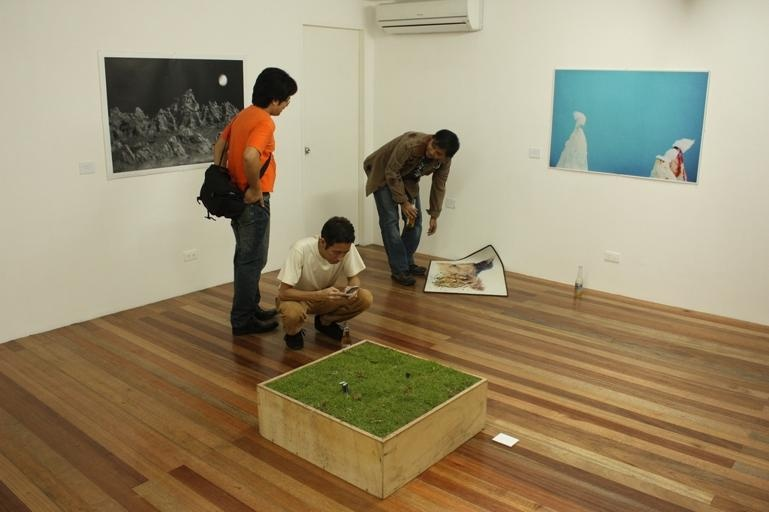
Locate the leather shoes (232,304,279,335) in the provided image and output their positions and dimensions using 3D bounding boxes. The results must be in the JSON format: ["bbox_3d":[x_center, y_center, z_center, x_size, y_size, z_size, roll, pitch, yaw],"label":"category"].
[{"bbox_3d":[-1.198,0.629,4.823,0.281,0.097,0.290,-6,23,-11],"label":"leather shoes"}]

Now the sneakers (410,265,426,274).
[{"bbox_3d":[0.435,0.170,6.211,0.171,0.073,0.097,9,20,31],"label":"sneakers"}]

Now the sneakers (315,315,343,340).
[{"bbox_3d":[-0.495,0.660,4.694,0.263,0.194,0.092,13,35,22],"label":"sneakers"}]

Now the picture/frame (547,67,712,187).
[{"bbox_3d":[2.648,-1.391,5.362,1.241,0.941,0.023,11,16,28],"label":"picture/frame"}]

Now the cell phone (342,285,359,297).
[{"bbox_3d":[-0.274,0.309,4.387,0.106,0.091,0.252,4,18,3],"label":"cell phone"}]

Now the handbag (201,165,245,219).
[{"bbox_3d":[-1.403,-0.575,4.520,0.392,0.427,0.217,27,23,25],"label":"handbag"}]

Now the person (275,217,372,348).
[{"bbox_3d":[-0.567,0.287,4.662,0.745,1.019,0.722,-21,44,-34],"label":"person"}]
